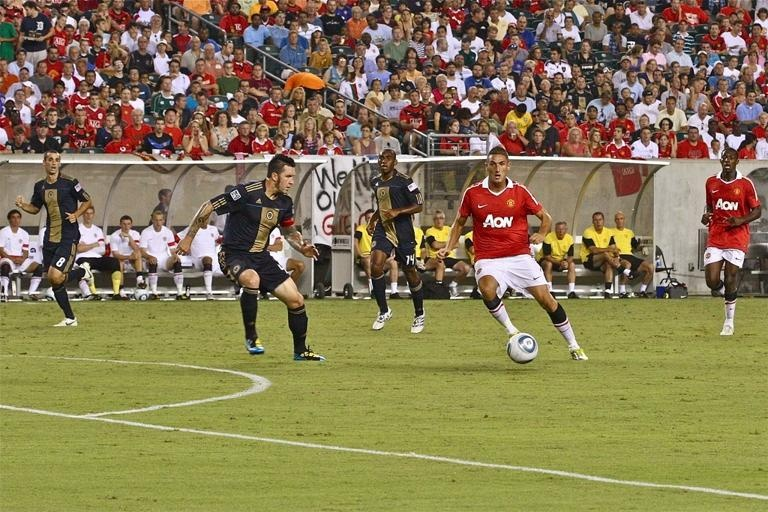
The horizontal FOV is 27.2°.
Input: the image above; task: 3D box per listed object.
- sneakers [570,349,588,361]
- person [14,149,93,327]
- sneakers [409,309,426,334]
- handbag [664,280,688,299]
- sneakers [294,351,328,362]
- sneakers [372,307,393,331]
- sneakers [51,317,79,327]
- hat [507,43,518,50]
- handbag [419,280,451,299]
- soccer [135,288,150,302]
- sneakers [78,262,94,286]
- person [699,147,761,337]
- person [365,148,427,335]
[{"bbox_3d":[2.861,1.457,23.665,0.158,0.109,0.259,1,-8,-12],"label":"sneakers"},{"bbox_3d":[-5.713,-0.275,27.290,1.597,2.916,1.107,2,-5,-40],"label":"person"},{"bbox_3d":[0.538,1.114,26.937,0.212,0.339,0.294,0,-2,-5],"label":"sneakers"},{"bbox_3d":[6.551,0.750,35.635,0.468,0.389,0.315,-1,4,-9],"label":"handbag"},{"bbox_3d":[-1.118,1.460,23.437,0.465,0.158,0.177,0,2,0],"label":"sneakers"},{"bbox_3d":[-0.075,1.093,27.429,0.186,0.493,0.230,35,-10,42],"label":"sneakers"},{"bbox_3d":[-5.509,1.112,27.144,0.486,0.163,0.148,2,-2,-2],"label":"sneakers"},{"bbox_3d":[3.291,-5.387,40.817,0.284,0.146,0.407,0,10,13],"label":"hat"},{"bbox_3d":[1.022,0.696,33.417,0.605,0.254,0.697,1,-2,-2],"label":"handbag"},{"bbox_3d":[-5.064,0.780,33.135,0.329,0.235,0.199,1,-3,-33],"label":"soccer"},{"bbox_3d":[-6.092,0.383,32.503,0.195,0.502,0.233,-29,54,-20],"label":"sneakers"},{"bbox_3d":[5.931,-0.269,27.140,0.943,3.138,0.860,-1,-2,10],"label":"person"},{"bbox_3d":[0.178,-0.254,27.321,0.917,3.106,1.144,-1,-2,-1],"label":"person"}]
